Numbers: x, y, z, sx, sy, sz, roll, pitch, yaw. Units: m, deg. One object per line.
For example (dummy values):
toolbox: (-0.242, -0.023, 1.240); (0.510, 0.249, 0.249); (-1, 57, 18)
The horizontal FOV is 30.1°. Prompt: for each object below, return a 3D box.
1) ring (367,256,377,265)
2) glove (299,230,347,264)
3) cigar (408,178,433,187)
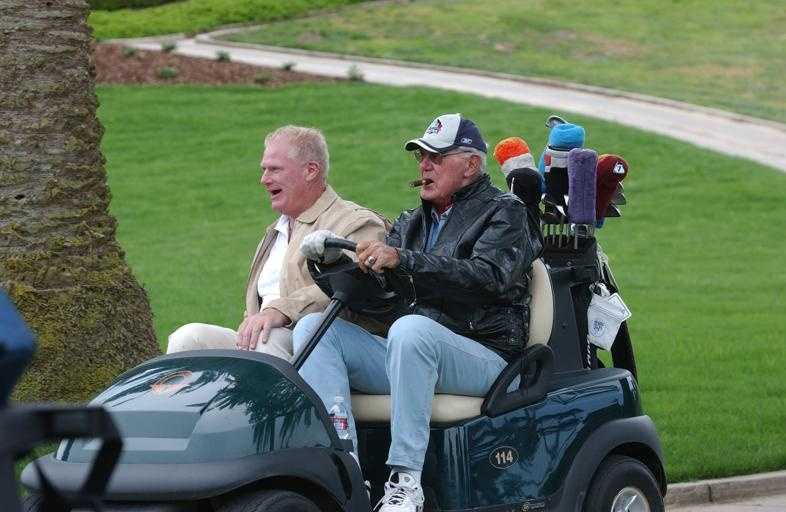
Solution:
ring: (-0.178, 0.016, 12.253); (0.071, 0.066, 0.018); (1, 6, 0)
glove: (-0.615, -0.099, 12.435); (0.353, 0.273, 0.149); (0, 17, -2)
cigar: (0.274, -0.676, 12.959); (0.071, 0.057, 0.346); (1, 4, 43)
